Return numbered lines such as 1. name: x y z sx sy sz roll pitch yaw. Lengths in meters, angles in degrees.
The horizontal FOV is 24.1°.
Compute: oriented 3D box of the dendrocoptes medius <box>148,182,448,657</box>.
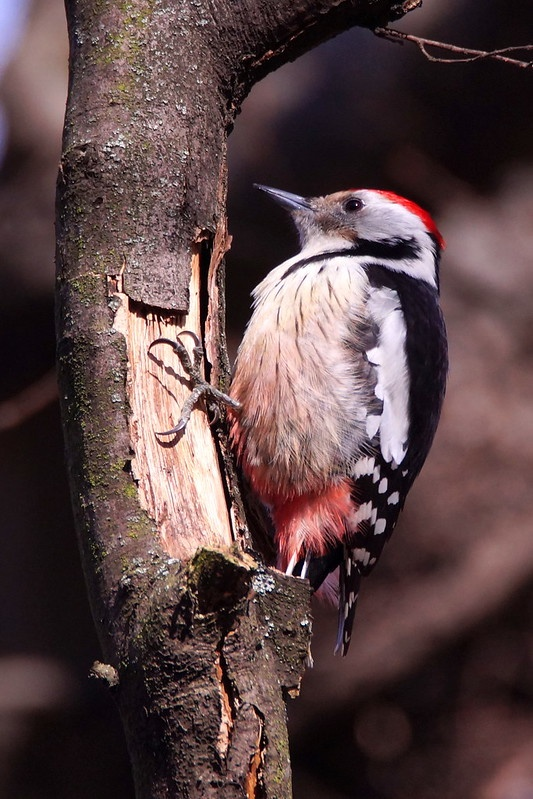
1. dendrocoptes medius: 0.110 -0.009 3.488 0.639 1.267 0.498 15 3 -23
